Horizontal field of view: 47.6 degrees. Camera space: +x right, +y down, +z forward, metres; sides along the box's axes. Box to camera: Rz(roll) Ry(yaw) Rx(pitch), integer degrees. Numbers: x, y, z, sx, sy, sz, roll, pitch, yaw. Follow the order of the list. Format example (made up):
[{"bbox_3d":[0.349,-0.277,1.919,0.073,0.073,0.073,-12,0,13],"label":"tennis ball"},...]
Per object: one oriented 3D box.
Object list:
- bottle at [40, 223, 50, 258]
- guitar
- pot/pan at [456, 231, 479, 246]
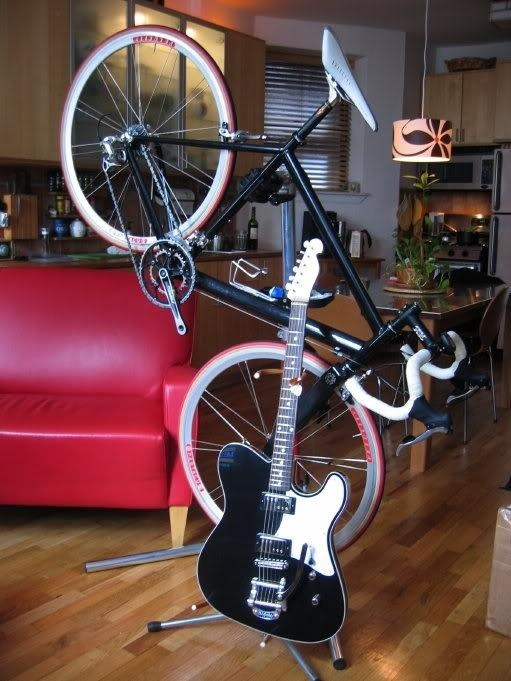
[{"bbox_3d":[-1.310,-0.619,3.615,0.057,0.184,0.178,-1,9,-20],"label":"bottle"},{"bbox_3d":[0.035,0.222,1.214,0.288,0.858,0.237,1,9,-9],"label":"guitar"},{"bbox_3d":[2.101,-1.009,5.777,0.165,0.113,0.167,10,15,42],"label":"pot/pan"}]
